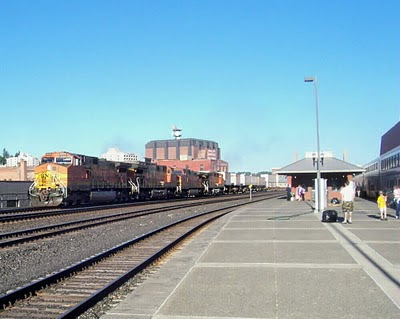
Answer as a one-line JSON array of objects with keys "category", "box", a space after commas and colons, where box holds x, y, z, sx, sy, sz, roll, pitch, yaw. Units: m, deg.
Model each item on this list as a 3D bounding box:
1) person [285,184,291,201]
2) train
[{"category": "person", "box": [9.321, 3.472, 40.808, 0.458, 1.596, 2.518, -2, -5, 13]}, {"category": "train", "box": [-3.971, 3.007, 52.890, 3.217, 4.947, 49.698, -3, -5, 18]}]
